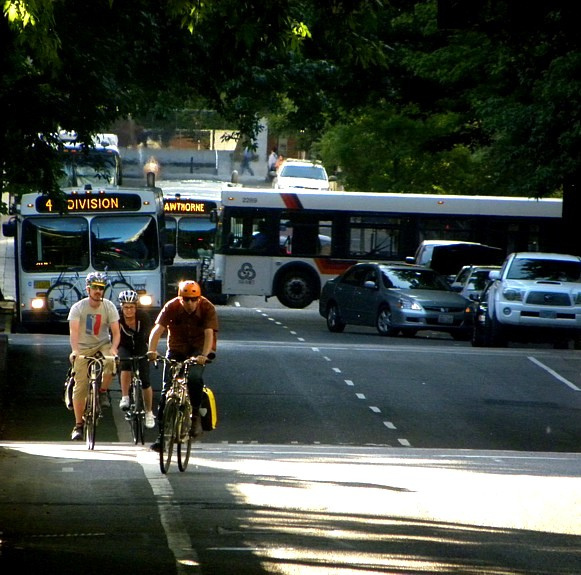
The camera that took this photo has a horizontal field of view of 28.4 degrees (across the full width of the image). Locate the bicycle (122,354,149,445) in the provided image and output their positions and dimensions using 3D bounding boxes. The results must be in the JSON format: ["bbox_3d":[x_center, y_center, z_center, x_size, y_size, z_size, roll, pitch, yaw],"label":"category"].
[{"bbox_3d":[-1.762,1.297,13.055,0.255,1.174,0.719,1,7,-8],"label":"bicycle"}]

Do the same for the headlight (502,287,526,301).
[{"bbox_3d":[4.206,0.130,21.581,0.325,0.139,0.247,0,9,-10],"label":"headlight"}]

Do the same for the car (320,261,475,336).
[{"bbox_3d":[2.269,0.287,24.724,1.368,0.992,2.924,2,-4,-30],"label":"car"}]

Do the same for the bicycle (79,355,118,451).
[{"bbox_3d":[-2.167,1.270,12.704,0.297,1.092,0.445,0,8,-10],"label":"bicycle"}]

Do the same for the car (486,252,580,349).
[{"bbox_3d":[4.693,0.317,22.240,1.753,1.830,1.657,3,7,10],"label":"car"}]

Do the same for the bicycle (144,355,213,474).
[{"bbox_3d":[-1.108,1.284,11.237,0.347,1.125,0.978,2,7,1],"label":"bicycle"}]

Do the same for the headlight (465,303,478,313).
[{"bbox_3d":[3.727,0.424,23.610,0.200,0.092,0.259,0,3,3],"label":"headlight"}]

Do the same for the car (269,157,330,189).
[{"bbox_3d":[0.474,-4.358,44.142,1.629,1.283,3.185,-1,-2,-2],"label":"car"}]

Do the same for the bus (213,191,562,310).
[{"bbox_3d":[3.082,-1.005,31.947,10.140,2.793,2.058,3,2,24],"label":"bus"}]

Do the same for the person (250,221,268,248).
[{"bbox_3d":[-0.803,-1.436,31.299,0.404,0.676,0.409,3,8,12],"label":"person"}]

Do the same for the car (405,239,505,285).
[{"bbox_3d":[4.686,-0.611,31.724,1.562,1.410,2.935,1,1,32],"label":"car"}]

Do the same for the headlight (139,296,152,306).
[{"bbox_3d":[-2.844,0.270,22.895,0.294,0.232,0.156,2,-10,-17],"label":"headlight"}]

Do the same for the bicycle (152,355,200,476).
[{"bbox_3d":[-1.122,1.303,11.213,0.326,1.147,0.931,3,7,8],"label":"bicycle"}]

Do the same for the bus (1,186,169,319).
[{"bbox_3d":[-4.009,-0.734,22.560,2.457,2.006,3.689,0,-2,-3],"label":"bus"}]
